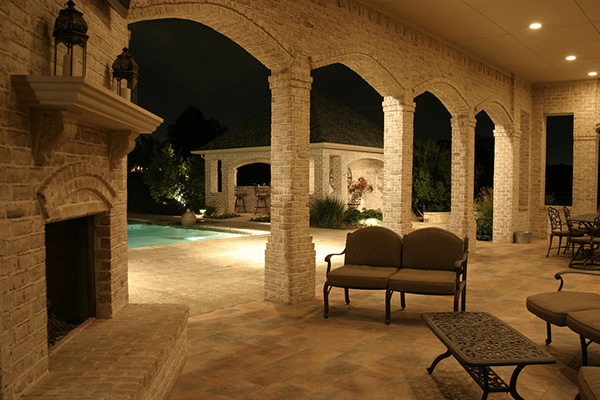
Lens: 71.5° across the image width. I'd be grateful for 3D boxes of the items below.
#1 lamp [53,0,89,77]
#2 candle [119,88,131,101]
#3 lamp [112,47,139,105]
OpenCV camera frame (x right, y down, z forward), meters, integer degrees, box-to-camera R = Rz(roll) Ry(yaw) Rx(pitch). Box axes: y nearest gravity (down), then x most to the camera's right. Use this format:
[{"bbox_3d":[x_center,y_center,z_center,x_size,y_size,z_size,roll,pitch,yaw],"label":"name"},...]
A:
[{"bbox_3d":[-2.051,-1.448,3.739,0.268,0.732,0.376,1,1,-28],"label":"lamp"},{"bbox_3d":[-1.868,-1.155,4.527,0.099,0.131,0.124,2,1,28],"label":"candle"},{"bbox_3d":[-1.920,-1.404,4.590,0.266,0.679,0.427,1,1,-23],"label":"lamp"}]
